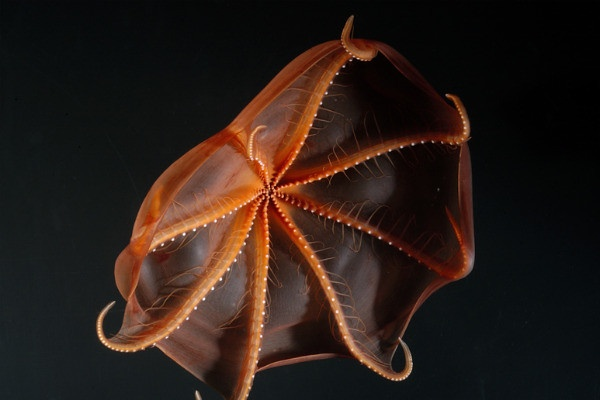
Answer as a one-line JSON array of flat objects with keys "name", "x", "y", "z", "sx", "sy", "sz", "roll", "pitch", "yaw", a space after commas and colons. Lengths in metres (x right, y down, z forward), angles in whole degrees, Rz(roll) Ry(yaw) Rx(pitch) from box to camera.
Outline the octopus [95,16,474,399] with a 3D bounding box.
[{"name": "octopus", "x": -0.189, "y": -0.102, "z": 5.601, "sx": 2.369, "sy": 0.770, "sz": 2.558, "roll": -35, "pitch": -59, "yaw": -15}]
